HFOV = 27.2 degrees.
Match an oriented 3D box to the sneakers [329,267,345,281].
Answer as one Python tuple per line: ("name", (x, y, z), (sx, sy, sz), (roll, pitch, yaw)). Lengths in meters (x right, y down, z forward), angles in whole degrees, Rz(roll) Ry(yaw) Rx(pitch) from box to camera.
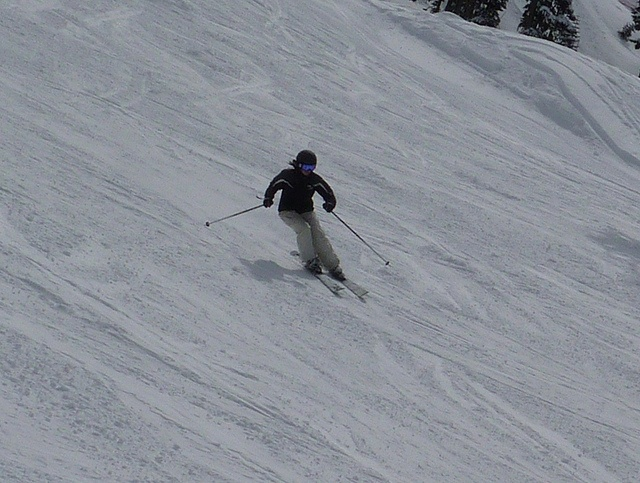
("sneakers", (0.423, 0.773, 29.826), (0.179, 0.175, 0.459), (-17, 21, -26))
